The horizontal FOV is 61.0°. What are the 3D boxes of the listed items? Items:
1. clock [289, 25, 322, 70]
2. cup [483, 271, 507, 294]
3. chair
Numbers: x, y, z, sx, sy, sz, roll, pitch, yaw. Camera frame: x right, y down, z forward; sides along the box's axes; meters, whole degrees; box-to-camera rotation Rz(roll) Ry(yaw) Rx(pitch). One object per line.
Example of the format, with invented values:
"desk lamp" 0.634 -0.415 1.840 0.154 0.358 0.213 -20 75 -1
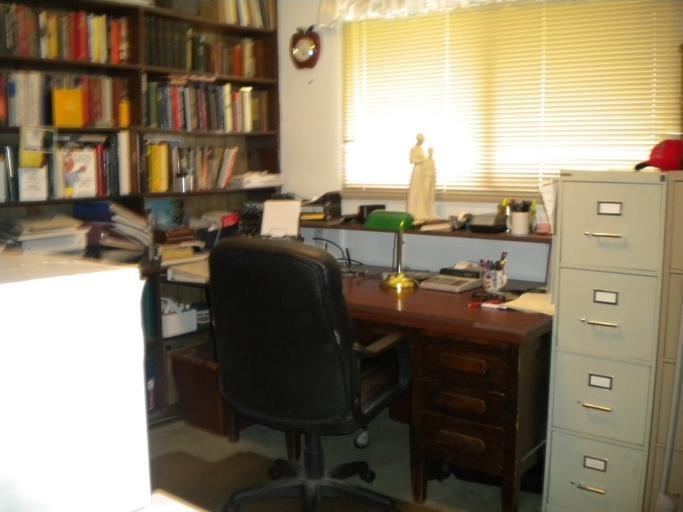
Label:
"clock" -0.248 -1.391 3.871 0.221 0.257 0.090 9 15 37
"cup" 0.738 0.131 2.837 0.118 0.110 0.091 4 4 28
"chair" -0.099 0.328 2.280 0.791 0.817 0.341 -2 12 -13
